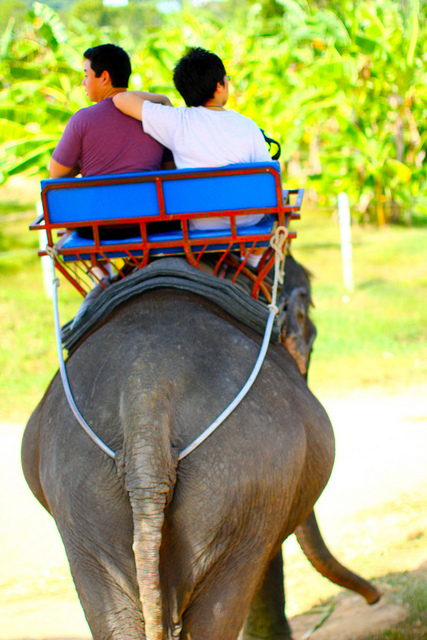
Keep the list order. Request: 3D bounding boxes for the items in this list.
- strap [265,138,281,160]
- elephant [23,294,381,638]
[{"bbox_3d":[0.233,-0.652,2.990,0.028,0.102,0.110,-31,18,2],"label":"strap"},{"bbox_3d":[-0.054,0.417,2.303,0.858,0.918,0.591,-11,14,-14],"label":"elephant"}]
